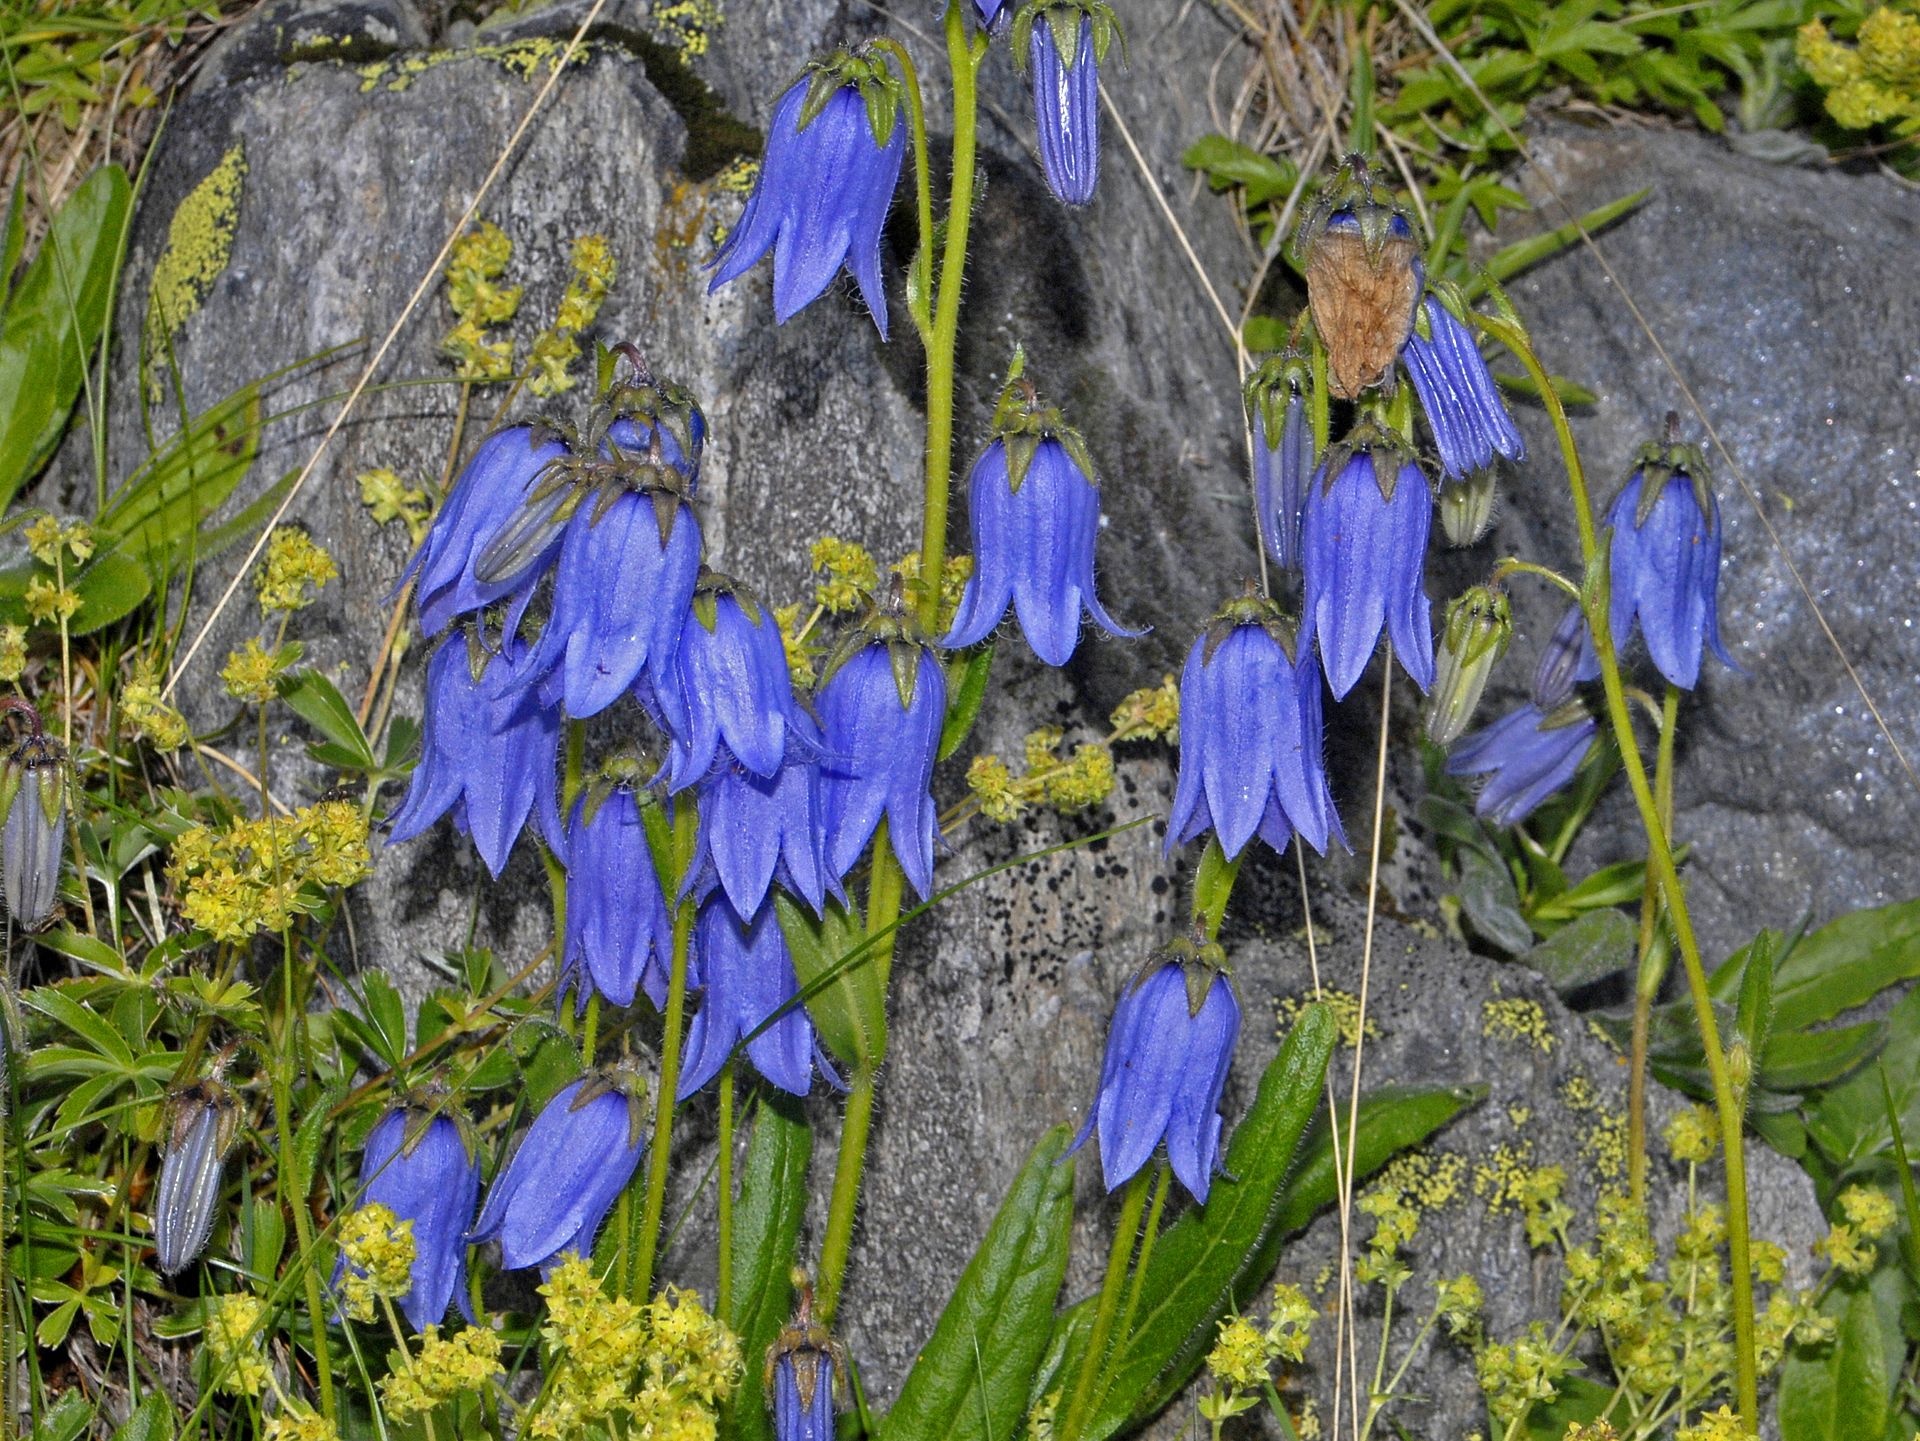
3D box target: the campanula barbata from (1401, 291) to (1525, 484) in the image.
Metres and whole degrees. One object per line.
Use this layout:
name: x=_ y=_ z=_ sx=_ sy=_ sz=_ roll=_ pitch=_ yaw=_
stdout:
campanula barbata: x=0.873 y=-0.581 z=4.862 sx=0.242 sy=0.350 sz=0.158 roll=-1 pitch=18 yaw=-13

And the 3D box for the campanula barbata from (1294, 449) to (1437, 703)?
campanula barbata: x=0.701 y=-0.253 z=4.659 sx=0.231 sy=0.391 sz=0.228 roll=4 pitch=19 yaw=-1

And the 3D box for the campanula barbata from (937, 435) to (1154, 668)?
campanula barbata: x=0.125 y=-0.293 z=4.638 sx=0.287 sy=0.348 sz=0.202 roll=4 pitch=19 yaw=-1

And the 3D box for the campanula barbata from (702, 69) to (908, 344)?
campanula barbata: x=-0.232 y=-0.880 z=4.617 sx=0.253 sy=0.508 sz=0.152 roll=13 pitch=11 yaw=15

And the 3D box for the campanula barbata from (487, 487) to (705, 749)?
campanula barbata: x=-0.574 y=-0.180 z=4.403 sx=0.297 sy=0.352 sz=0.156 roll=5 pitch=18 yaw=2
